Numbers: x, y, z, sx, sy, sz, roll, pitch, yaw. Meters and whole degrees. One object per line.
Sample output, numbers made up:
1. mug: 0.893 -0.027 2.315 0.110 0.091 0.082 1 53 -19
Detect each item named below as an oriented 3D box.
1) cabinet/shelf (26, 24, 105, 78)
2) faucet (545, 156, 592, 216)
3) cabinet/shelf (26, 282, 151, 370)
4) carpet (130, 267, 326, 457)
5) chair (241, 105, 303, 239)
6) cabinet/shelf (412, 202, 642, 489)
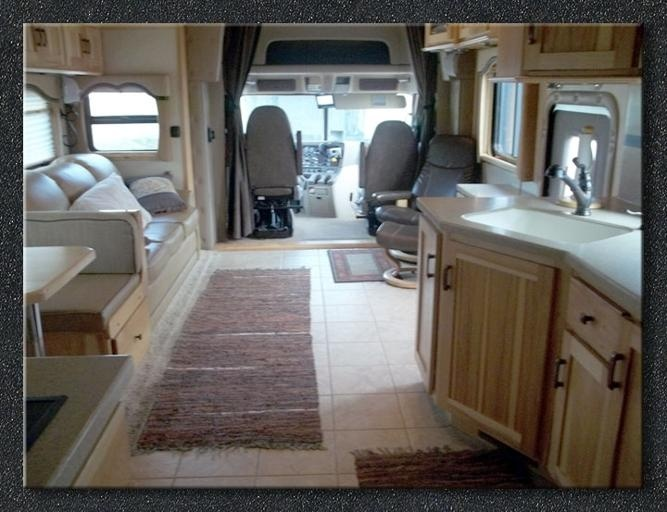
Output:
1. cabinet/shelf: -0.783 -0.592 1.377 0.203 0.112 0.100 -9 24 -37
2. faucet: 0.884 -0.263 1.805 0.254 0.195 0.072 4 9 -27
3. cabinet/shelf: -1.054 0.330 2.125 0.371 0.307 0.549 -3 11 -9
4. carpet: -0.443 0.401 2.721 0.693 0.033 2.120 4 15 -7
5. chair: -0.572 -0.733 4.425 0.461 1.220 0.632 -4 16 -9
6. cabinet/shelf: 0.609 0.302 1.513 0.500 0.552 0.881 3 16 12
